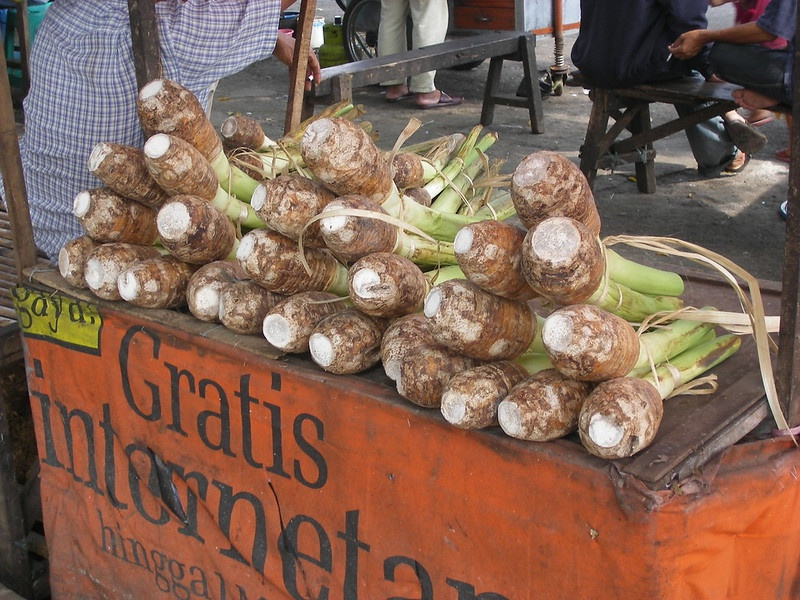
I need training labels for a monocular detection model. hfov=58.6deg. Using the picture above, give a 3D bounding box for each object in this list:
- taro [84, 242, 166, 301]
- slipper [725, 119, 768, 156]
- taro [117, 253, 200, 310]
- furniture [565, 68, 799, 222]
[{"bbox_3d":[-0.957,-0.107,2.460,0.138,0.115,0.294,32,19,13],"label":"taro"},{"bbox_3d":[2.630,-1.270,5.574,0.129,0.202,0.347,4,14,-20],"label":"slipper"},{"bbox_3d":[-0.792,-0.054,2.403,0.103,0.128,0.273,-7,-5,26],"label":"taro"},{"bbox_3d":[2.145,-1.480,5.627,1.425,1.097,1.265,18,35,34],"label":"furniture"}]
